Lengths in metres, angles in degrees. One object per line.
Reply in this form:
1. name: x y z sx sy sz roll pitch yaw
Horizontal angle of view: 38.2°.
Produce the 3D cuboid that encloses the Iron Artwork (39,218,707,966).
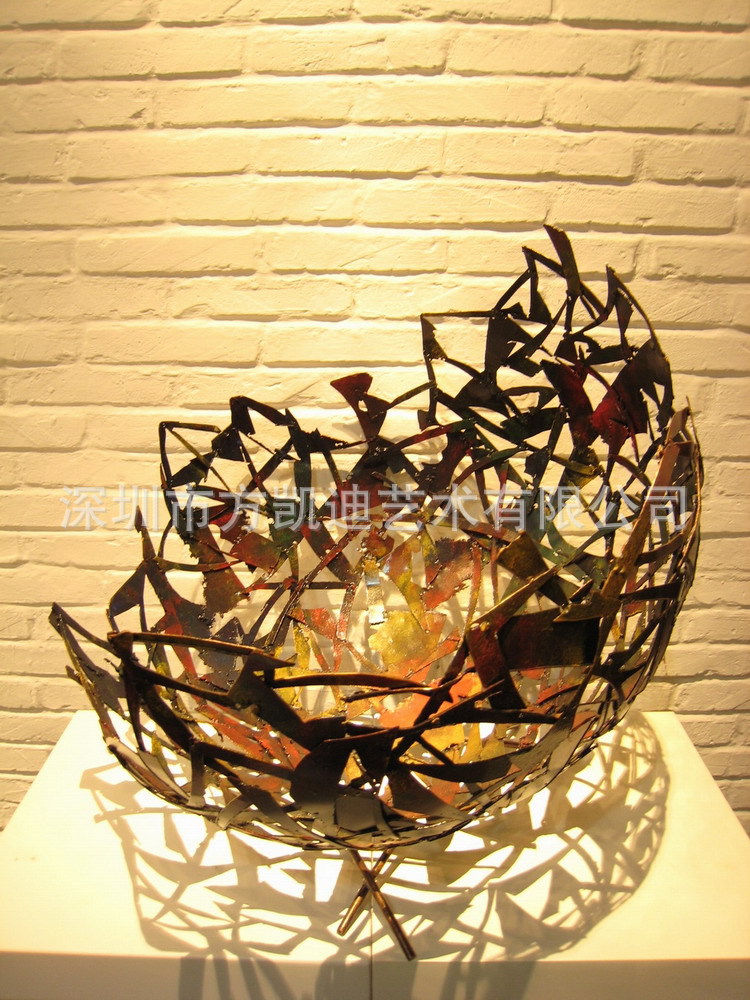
1. Iron Artwork: -0.085 0.115 1.026 0.667 0.481 0.575 -2 1 22
